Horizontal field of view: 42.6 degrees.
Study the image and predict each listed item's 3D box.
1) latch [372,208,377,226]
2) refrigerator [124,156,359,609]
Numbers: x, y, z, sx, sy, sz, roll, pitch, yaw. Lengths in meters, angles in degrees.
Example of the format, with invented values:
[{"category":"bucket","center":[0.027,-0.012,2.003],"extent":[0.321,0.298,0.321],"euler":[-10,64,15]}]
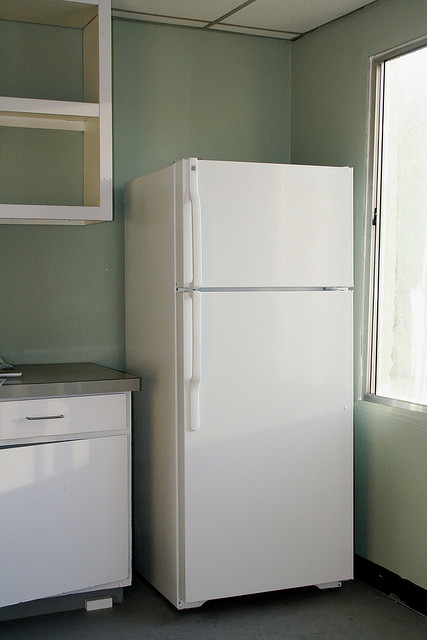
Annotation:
[{"category":"latch","center":[0.635,-0.411,2.190],"extent":[0.016,0.065,0.016],"euler":[-1,-4,9]},{"category":"refrigerator","center":[0.081,0.223,2.039],"extent":[0.893,1.652,0.640],"euler":[0,-4,-3]}]
